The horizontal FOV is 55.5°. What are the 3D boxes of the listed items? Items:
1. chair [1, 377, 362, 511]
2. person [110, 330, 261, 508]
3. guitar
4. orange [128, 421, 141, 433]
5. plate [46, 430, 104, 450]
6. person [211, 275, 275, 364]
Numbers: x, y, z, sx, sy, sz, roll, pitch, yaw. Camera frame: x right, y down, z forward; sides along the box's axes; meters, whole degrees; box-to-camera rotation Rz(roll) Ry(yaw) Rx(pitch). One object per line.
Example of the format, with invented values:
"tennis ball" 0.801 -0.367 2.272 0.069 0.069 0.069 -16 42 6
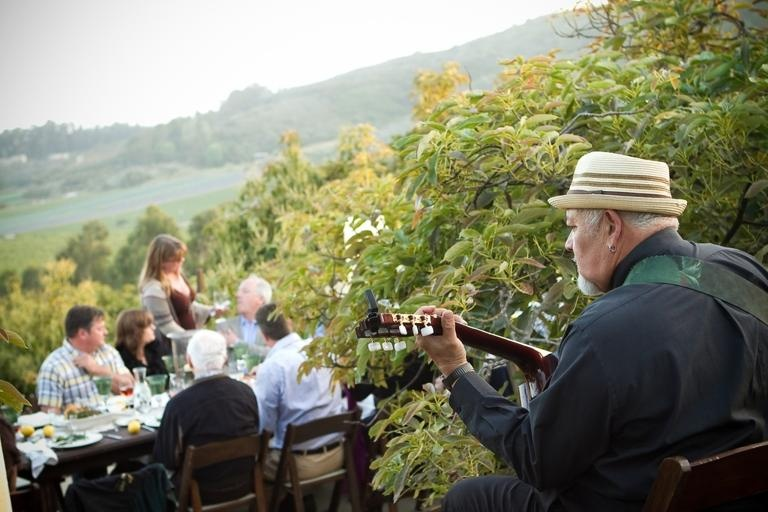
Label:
"chair" -1.421 1.405 5.351 1.473 0.679 1.019 3 -10 -37
"person" -1.289 1.205 5.230 0.800 1.211 0.423 -17 13 -16
"guitar" 0.363 0.409 3.688 1.003 0.339 0.498 14 -3 -19
"orange" -1.881 1.294 5.562 0.094 0.103 0.088 3 2 -35
"plate" -2.278 1.356 5.403 0.351 0.087 0.273 -15 11 -14
"person" -1.407 0.611 7.618 0.670 1.132 0.493 9 7 21
